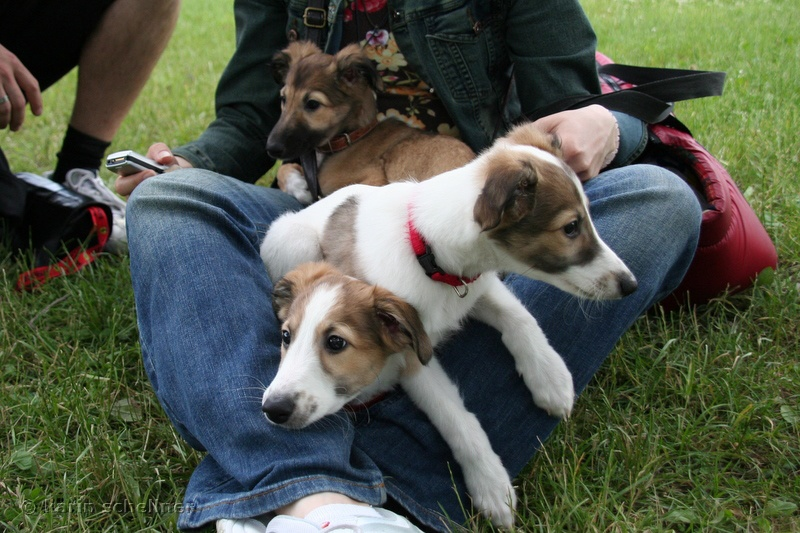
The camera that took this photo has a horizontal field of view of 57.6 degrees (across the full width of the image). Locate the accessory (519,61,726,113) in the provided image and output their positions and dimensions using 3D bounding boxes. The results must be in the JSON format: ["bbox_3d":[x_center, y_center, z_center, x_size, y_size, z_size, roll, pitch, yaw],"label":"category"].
[{"bbox_3d":[1.620,-1.161,4.849,0.967,0.190,0.621,3,30,32],"label":"accessory"}]

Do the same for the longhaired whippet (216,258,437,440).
[{"bbox_3d":[-0.365,0.411,3.849,0.818,0.520,0.788,26,43,25],"label":"longhaired whippet"}]

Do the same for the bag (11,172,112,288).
[{"bbox_3d":[-2.591,-0.319,5.434,0.846,0.497,1.292,12,-19,-28],"label":"bag"}]

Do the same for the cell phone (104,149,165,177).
[{"bbox_3d":[-1.709,-0.649,4.683,0.203,0.074,0.276,16,1,34],"label":"cell phone"}]

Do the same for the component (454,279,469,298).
[{"bbox_3d":[0.338,0.115,4.015,0.081,0.083,0.020,8,13,1],"label":"component"}]

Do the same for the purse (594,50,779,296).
[{"bbox_3d":[1.929,-0.543,4.906,1.429,0.622,1.448,22,2,3],"label":"purse"}]
